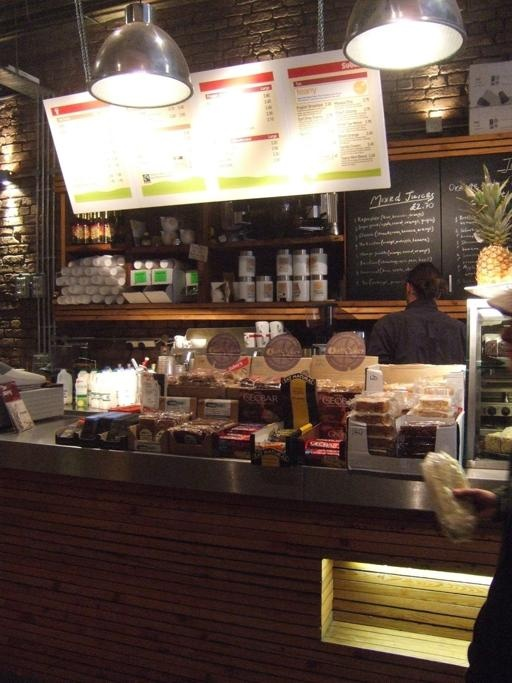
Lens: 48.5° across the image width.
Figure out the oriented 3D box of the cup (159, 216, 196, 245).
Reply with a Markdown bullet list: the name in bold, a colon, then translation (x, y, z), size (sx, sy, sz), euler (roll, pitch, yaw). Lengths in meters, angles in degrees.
- **cup**: translation (-0.584, -0.785, 4.123), size (0.246, 0.103, 0.231), euler (6, 5, 0)

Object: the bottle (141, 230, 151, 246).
- **bottle**: translation (-0.813, -0.764, 4.227), size (0.076, 0.095, 0.027), euler (6, -18, -2)

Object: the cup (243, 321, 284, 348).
- **cup**: translation (0.037, -0.051, 3.738), size (0.163, 0.156, 0.238), euler (2, 4, 11)
